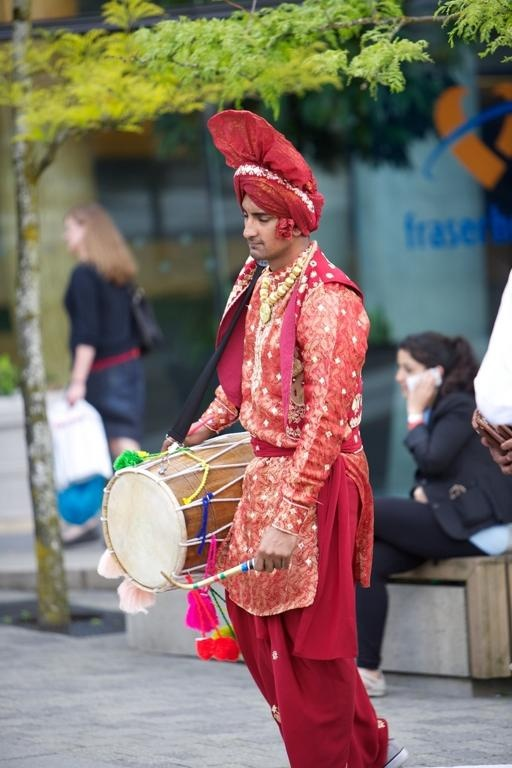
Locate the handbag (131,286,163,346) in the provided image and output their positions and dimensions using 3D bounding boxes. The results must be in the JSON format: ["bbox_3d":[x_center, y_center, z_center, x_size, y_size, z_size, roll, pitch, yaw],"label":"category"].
[{"bbox_3d":[-0.476,-0.299,6.173,0.125,0.284,0.340,-1,3,-4],"label":"handbag"}]

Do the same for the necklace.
[{"bbox_3d":[0.074,-0.326,4.533,0.067,0.235,0.191,37,6,-24],"label":"necklace"}]

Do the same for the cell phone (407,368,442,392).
[{"bbox_3d":[0.736,-0.045,6.179,0.129,0.097,0.075,-31,2,10],"label":"cell phone"}]
